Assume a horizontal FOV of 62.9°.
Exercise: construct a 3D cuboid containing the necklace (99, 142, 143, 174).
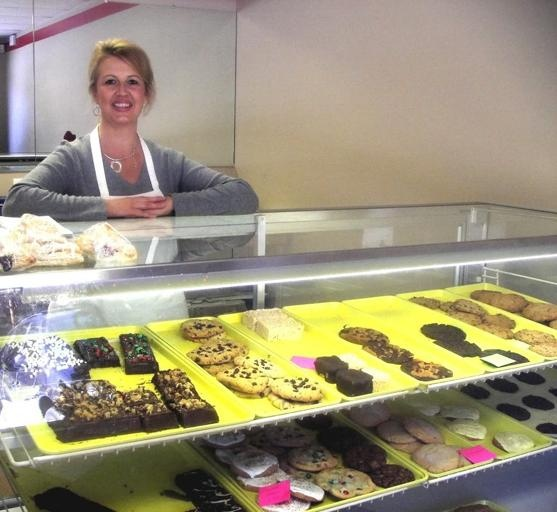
[{"bbox_3d":[-0.574,-0.349,1.636,0.108,0.033,0.122,19,45,18],"label":"necklace"}]
